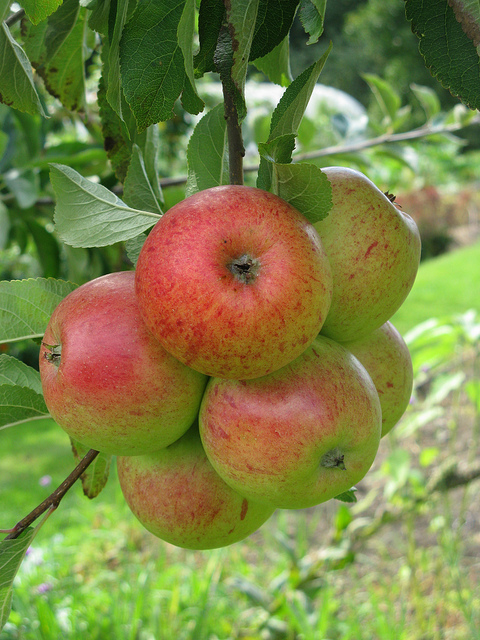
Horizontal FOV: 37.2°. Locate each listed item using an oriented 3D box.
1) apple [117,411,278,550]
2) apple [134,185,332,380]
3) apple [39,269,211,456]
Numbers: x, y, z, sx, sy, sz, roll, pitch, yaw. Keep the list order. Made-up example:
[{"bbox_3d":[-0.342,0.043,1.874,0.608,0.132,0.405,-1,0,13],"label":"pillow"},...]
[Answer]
[{"bbox_3d":[-0.065,0.217,1.107,0.239,0.225,0.213,0,8,-5],"label":"apple"},{"bbox_3d":[-0.001,-0.040,0.947,0.260,0.239,0.216,-2,76,-5],"label":"apple"},{"bbox_3d":[-0.117,0.071,1.044,0.278,0.285,0.241,3,57,7],"label":"apple"}]
